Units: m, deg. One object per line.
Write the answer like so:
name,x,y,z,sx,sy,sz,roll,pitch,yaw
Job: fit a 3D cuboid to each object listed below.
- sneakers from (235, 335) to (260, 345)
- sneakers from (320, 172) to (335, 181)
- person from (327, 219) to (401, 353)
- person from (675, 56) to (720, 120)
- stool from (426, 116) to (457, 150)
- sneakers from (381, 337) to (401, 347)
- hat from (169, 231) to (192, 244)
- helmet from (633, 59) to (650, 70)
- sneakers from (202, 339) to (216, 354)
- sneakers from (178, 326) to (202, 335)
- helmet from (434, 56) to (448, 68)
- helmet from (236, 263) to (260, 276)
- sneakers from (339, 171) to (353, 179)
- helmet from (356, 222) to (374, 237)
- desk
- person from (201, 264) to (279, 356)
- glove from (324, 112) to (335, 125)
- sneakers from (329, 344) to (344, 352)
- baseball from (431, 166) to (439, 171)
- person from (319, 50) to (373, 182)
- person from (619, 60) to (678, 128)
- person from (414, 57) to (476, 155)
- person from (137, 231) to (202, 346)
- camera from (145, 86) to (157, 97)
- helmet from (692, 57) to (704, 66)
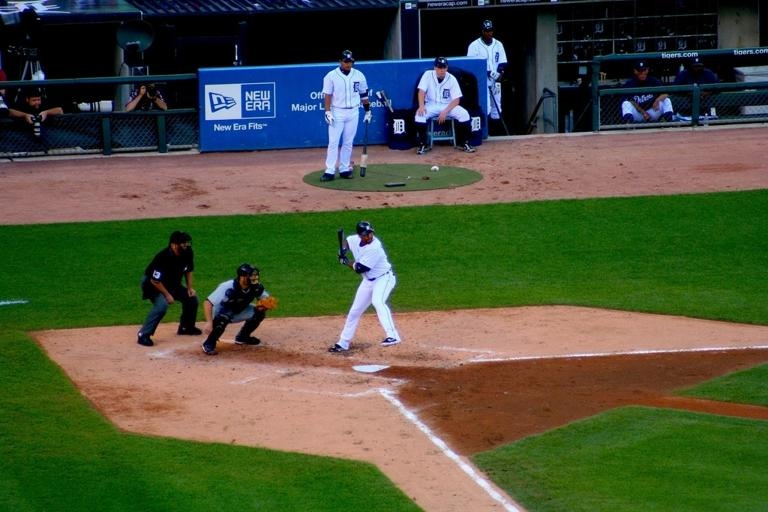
sneakers,-2.326,1.432,19.100,0.437,0.137,0.143,1,10,0
sneakers,-1.282,-1.800,25.610,0.331,0.148,0.156,-1,3,-8
person,-0.291,0.497,18.727,1.117,2.183,0.695,0,10,0
person,7.953,-4.334,28.936,1.072,1.557,1.029,2,9,12
stool,1.421,-3.111,28.040,0.935,0.823,0.639,-1,20,0
sneakers,0.110,1.425,18.807,0.338,0.115,0.123,0,27,1
hat,-3.327,-0.294,18.610,0.355,0.231,0.255,-13,19,-41
helmet,6.423,-4.850,28.388,0.529,0.260,0.597,-2,9,2
sneakers,-2.905,1.499,18.660,0.209,0.214,0.256,-1,8,-8
sneakers,-3.361,1.294,19.532,0.402,0.123,0.157,0,10,-3
helmet,1.350,-4.593,26.689,0.326,0.166,0.384,-1,6,-9
helmet,-2.230,0.234,18.412,0.347,0.239,0.227,-14,23,-1
sneakers,-0.840,-1.838,25.792,0.307,0.157,0.337,10,-5,8
helmet,-0.326,-0.459,18.478,0.241,0.221,0.441,-1,8,-5
desk,5.694,-4.038,30.358,3.294,0.985,1.926,0,9,4
person,-2.474,0.987,19.241,1.301,1.302,1.293,-19,33,-41
glove,-1.194,-3.049,24.743,0.267,0.267,0.150,6,22,35
sneakers,-0.789,1.536,18.719,0.288,0.083,0.109,3,7,-4
baseball,1.198,-2.050,26.201,0.161,0.063,0.124,-3,5,-31
person,-0.896,-3.081,24.983,1.043,2.853,1.271,0,10,-3
person,6.665,-4.174,28.692,1.296,1.571,0.818,1,10,8
person,1.350,-3.630,27.253,1.097,2.321,1.631,8,12,40
person,-3.651,0.523,18.992,1.029,1.953,0.968,-1,10,-9
camera,-5.676,-4.047,27.488,0.265,0.250,0.118,8,9,5
helmet,7.892,-4.945,28.496,0.256,0.160,0.210,1,8,4
